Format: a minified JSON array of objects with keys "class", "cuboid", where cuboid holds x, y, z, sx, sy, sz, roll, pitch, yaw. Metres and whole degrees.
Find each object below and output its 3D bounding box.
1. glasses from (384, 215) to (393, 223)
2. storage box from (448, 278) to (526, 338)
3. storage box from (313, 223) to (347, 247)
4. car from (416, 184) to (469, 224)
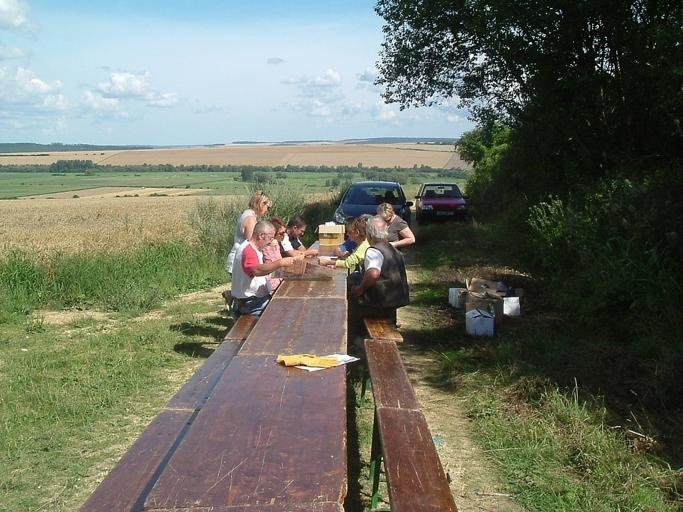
[{"class":"glasses","cuboid":[0.746,-0.578,9.026,0.095,0.135,0.117,20,24,27]},{"class":"storage box","cuboid":[2.301,0.737,9.151,0.846,0.301,0.880,18,21,34]},{"class":"storage box","cuboid":[-0.174,-0.398,10.791,0.433,0.349,0.449,0,2,2]},{"class":"car","cuboid":[3.933,-2.188,22.796,1.300,1.114,2.595,-2,1,2]}]
